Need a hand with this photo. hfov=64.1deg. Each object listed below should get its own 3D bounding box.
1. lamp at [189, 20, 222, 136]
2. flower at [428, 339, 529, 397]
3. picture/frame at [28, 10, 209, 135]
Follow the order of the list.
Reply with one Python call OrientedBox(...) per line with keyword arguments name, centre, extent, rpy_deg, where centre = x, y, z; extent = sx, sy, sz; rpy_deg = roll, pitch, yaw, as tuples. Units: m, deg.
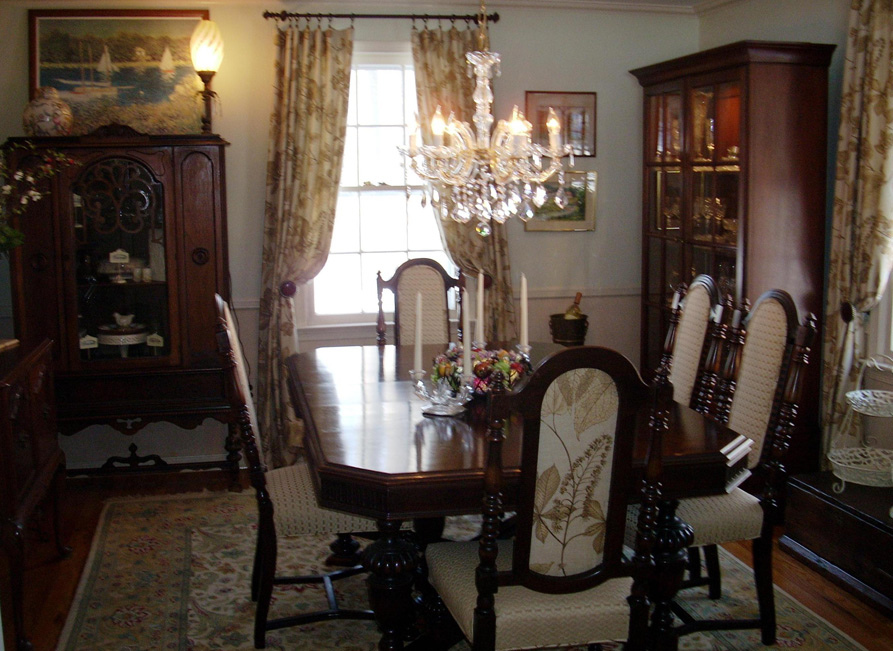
OrientedBox(name="lamp", centre=(-1.507, -1.589, 4.512), extent=(0.215, 0.773, 0.572), rpy_deg=(-4, 12, -18))
OrientedBox(name="flower", centre=(0.161, 0.183, 3.046), extent=(0.278, 0.130, 0.300), rpy_deg=(4, 9, 32))
OrientedBox(name="picture/frame", centre=(-2.154, -1.646, 4.569), extent=(0.933, 0.668, 0.035), rpy_deg=(-1, -2, -7))
